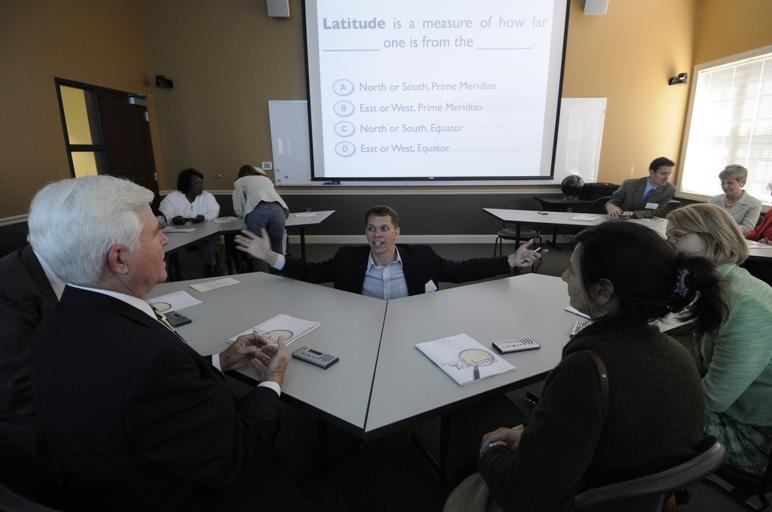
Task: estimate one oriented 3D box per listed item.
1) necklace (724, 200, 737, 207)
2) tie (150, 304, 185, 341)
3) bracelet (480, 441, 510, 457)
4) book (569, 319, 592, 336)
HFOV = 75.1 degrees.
[{"bbox_3d":[3.588,-0.540,5.204,0.055,0.077,0.029,6,65,28],"label":"necklace"},{"bbox_3d":[-1.110,0.345,2.554,0.319,0.073,0.026,28,73,44],"label":"tie"},{"bbox_3d":[0.501,0.889,2.306,0.109,0.044,0.083,-16,8,-15],"label":"bracelet"},{"bbox_3d":[0.993,0.370,2.551,0.086,0.029,0.162,11,37,36],"label":"book"}]
